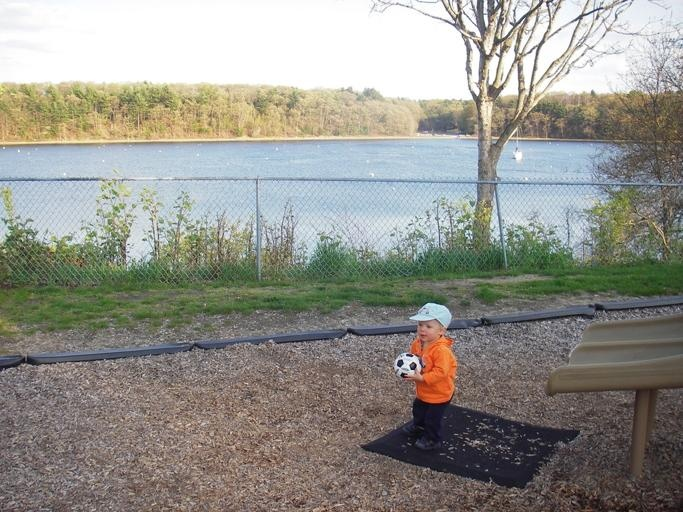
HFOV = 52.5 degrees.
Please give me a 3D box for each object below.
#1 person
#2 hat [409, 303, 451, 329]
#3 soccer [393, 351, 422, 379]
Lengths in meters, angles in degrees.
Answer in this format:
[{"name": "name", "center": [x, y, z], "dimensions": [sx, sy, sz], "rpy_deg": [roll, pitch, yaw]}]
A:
[{"name": "person", "center": [0.732, 0.976, 5.675], "dimensions": [0.409, 1.177, 0.332], "rpy_deg": [-1, 1, 4]}, {"name": "hat", "center": [0.735, 0.478, 5.658], "dimensions": [0.309, 0.148, 0.217], "rpy_deg": [8, -4, 1]}, {"name": "soccer", "center": [0.540, 0.890, 5.642], "dimensions": [0.200, 0.197, 0.198], "rpy_deg": [2, -1, -1]}]
